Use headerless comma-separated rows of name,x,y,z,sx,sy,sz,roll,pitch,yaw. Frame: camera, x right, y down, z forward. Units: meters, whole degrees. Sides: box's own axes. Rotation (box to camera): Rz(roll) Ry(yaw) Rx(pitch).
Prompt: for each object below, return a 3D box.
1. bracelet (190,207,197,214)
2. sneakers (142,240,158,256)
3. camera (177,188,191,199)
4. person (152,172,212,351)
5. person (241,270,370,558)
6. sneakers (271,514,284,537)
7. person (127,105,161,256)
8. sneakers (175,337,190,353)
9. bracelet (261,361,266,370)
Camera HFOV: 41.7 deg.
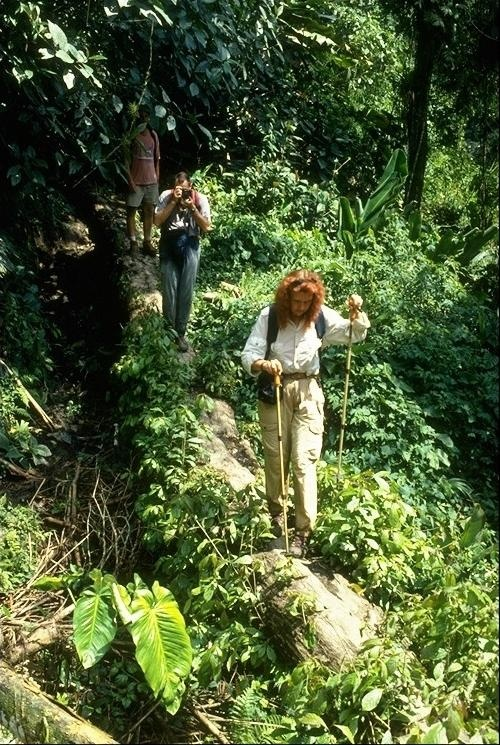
bracelet,-0.440,-1.255,5.069,0.010,0.041,0.043,-21,-27,3
sneakers,-1.118,-1.374,7.231,0.142,0.174,0.413,-3,12,-4
camera,-0.492,-1.372,5.031,0.090,0.082,0.041,2,15,-22
person,-0.609,-0.864,5.395,0.428,1.495,0.530,5,14,-9
person,0.248,0.195,3.739,0.614,1.545,0.600,11,14,15
sneakers,0.163,0.912,3.892,0.063,0.048,0.115,4,37,-1
person,-1.095,-1.911,6.741,0.340,1.406,1.117,5,14,-10
sneakers,-0.598,-0.252,5.831,0.078,0.053,0.133,0,41,-6
bracelet,0.072,-0.041,3.497,0.008,0.035,0.026,8,4,-29
